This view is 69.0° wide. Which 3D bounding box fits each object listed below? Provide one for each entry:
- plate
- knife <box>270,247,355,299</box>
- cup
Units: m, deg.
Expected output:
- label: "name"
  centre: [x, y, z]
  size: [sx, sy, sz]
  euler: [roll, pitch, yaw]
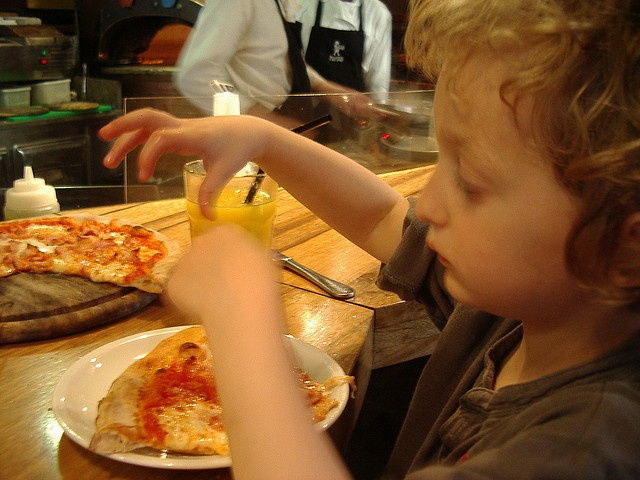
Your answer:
- label: "plate"
  centre: [-0.232, 0.232, 0.677]
  size: [0.260, 0.024, 0.232]
  euler: [6, 12, 9]
- label: "knife"
  centre: [-0.042, 0.064, 1.117]
  size: [0.062, 0.027, 0.404]
  euler: [-8, 14, -28]
- label: "cup"
  centre: [-0.180, -0.075, 0.989]
  size: [0.217, 0.206, 0.194]
  euler: [-7, 22, -29]
